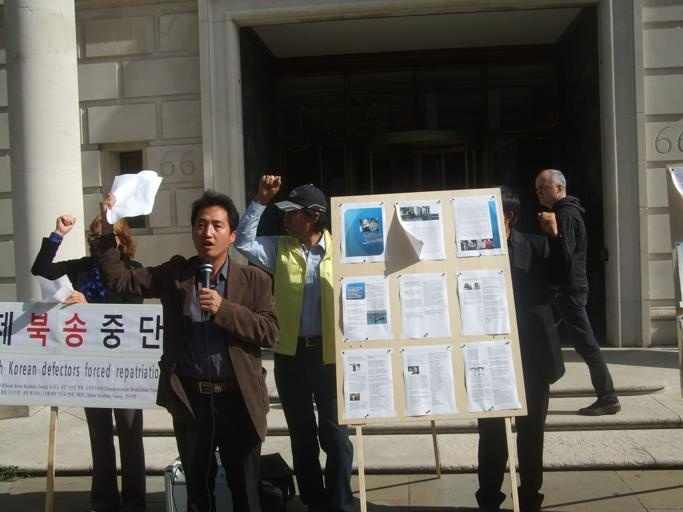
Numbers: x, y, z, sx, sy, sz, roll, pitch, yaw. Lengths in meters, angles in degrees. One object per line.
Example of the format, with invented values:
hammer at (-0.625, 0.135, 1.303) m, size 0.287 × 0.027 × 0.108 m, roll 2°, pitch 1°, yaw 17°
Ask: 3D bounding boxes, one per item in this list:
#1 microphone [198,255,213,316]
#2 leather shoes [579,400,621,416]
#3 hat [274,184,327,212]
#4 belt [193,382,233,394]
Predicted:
microphone at (-1.025, 0.255, 6.479) m, size 0.105 × 0.463 × 0.262 m, roll -1°, pitch -1°, yaw -10°
leather shoes at (2.628, 1.526, 8.587) m, size 0.396 × 0.174 × 0.163 m, roll 1°, pitch -5°, yaw 2°
hat at (-0.322, -0.490, 7.271) m, size 0.338 × 0.213 × 0.232 m, roll 6°, pitch -2°, yaw -6°
belt at (-0.975, 1.006, 6.495) m, size 0.304 × 0.092 × 0.034 m, roll -2°, pitch -1°, yaw 1°
